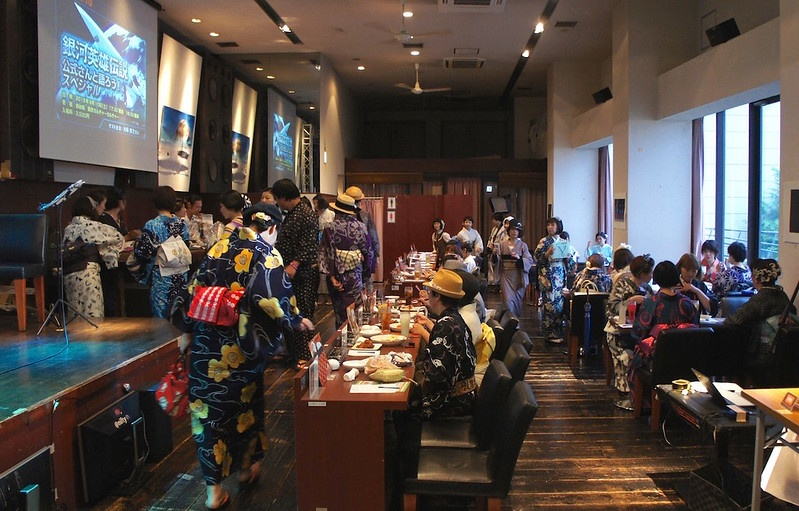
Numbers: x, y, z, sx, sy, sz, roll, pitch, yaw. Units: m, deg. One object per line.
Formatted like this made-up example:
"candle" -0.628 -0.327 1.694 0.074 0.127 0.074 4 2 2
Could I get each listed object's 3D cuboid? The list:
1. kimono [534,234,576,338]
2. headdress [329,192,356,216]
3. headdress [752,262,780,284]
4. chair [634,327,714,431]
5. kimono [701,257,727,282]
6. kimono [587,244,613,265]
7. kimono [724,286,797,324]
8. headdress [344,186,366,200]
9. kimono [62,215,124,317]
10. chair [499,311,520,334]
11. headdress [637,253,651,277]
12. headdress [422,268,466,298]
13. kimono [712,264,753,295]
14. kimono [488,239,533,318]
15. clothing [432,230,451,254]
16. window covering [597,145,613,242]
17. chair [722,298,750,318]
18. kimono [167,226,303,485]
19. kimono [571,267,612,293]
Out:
"kimono" 2.526 0.538 8.874 0.723 1.740 0.567 -1 2 -24
"headdress" -0.681 -0.624 6.797 0.282 0.095 0.246 9 24 -39
"headdress" 3.828 0.163 5.784 0.200 0.248 0.256 3 9 8
"chair" 2.901 1.248 5.901 0.636 1.062 0.637 1 3 -2
"kimono" 4.401 0.205 7.732 0.308 0.379 0.219 -4 -9 39
"kimono" 3.338 -0.025 9.162 0.329 0.329 0.209 -8 -19 39
"kimono" 3.850 0.532 5.856 0.418 0.182 0.151 -9 38 -9
"headdress" -0.585 -0.798 7.114 0.272 0.110 0.313 14 20 3
"kimono" -3.486 0.126 6.278 0.595 1.150 0.382 -1 3 -34
"chair" 1.132 0.637 5.689 0.160 0.225 0.310 -5 6 0
"headdress" 2.890 0.109 6.531 0.213 0.224 0.166 0 20 -46
"headdress" 0.386 0.236 4.739 0.234 0.115 0.267 21 2 -45
"kimono" 4.377 0.323 7.232 0.349 0.349 0.196 1 10 7
"kimono" 1.871 0.317 9.307 0.651 1.595 0.469 -1 10 2
"clothing" 0.799 -0.274 10.689 0.266 0.528 0.420 19 -24 -33
"window covering" 4.599 -1.415 12.436 0.148 1.973 0.401 -2 3 -21
"chair" 3.822 0.594 6.269 0.252 0.253 0.189 0 -10 -1
"kimono" -1.323 0.827 4.610 0.834 2.120 0.358 0 3 -15
"kimono" 2.689 0.191 7.704 0.554 0.603 0.309 2 7 20
